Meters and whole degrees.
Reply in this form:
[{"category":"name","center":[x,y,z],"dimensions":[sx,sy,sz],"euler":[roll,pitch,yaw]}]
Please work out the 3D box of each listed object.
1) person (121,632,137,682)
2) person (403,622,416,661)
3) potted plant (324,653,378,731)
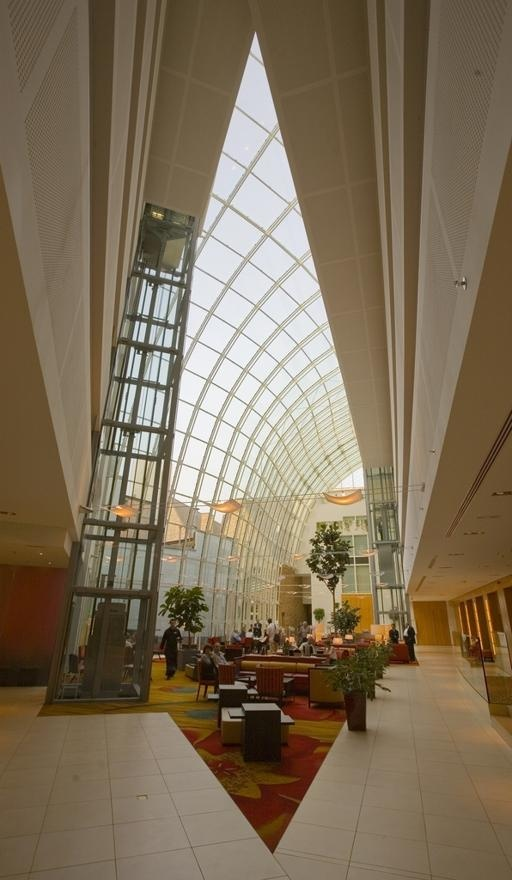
[{"category":"person","center":[-3.768,6.405,11.273],"dimensions":[0.366,1.245,0.173],"euler":[4,-17,-10]},{"category":"person","center":[9.043,11.754,22.082],"dimensions":[0.515,1.579,2.933],"euler":[-5,-20,18]},{"category":"potted plant","center":[2.128,5.203,7.958],"dimensions":[0.842,1.401,0.815],"euler":[7,-24,-18]}]
